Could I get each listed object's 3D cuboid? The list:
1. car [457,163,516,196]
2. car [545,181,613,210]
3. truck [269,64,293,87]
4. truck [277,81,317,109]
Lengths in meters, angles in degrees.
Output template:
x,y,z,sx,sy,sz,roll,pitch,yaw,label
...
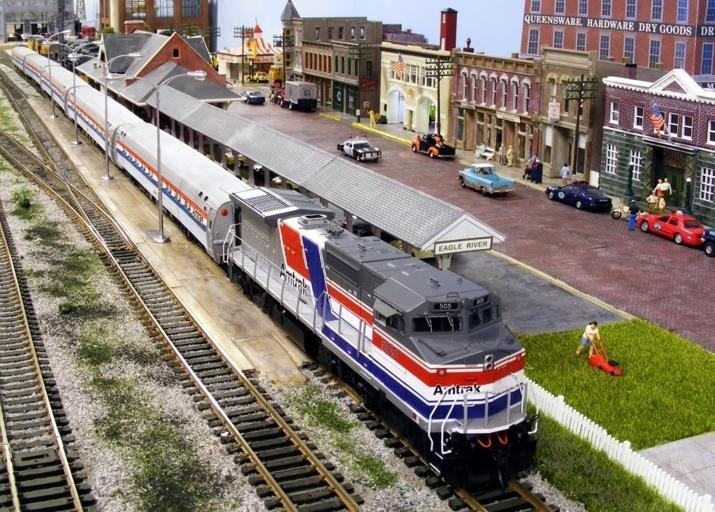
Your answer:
x,y,z,sx,sy,sz,roll,pitch,yaw,label
9.813,-5.493,53.590,2.586,2.186,6.182,-5,15,-24,car
16.002,-4.081,50.903,1.901,1.439,4.353,-7,26,-33,car
-11.030,-27.817,108.000,3.458,3.359,5.283,-11,21,-28,truck
-7.474,-20.459,90.711,2.896,2.870,5.144,-6,21,-24,truck
